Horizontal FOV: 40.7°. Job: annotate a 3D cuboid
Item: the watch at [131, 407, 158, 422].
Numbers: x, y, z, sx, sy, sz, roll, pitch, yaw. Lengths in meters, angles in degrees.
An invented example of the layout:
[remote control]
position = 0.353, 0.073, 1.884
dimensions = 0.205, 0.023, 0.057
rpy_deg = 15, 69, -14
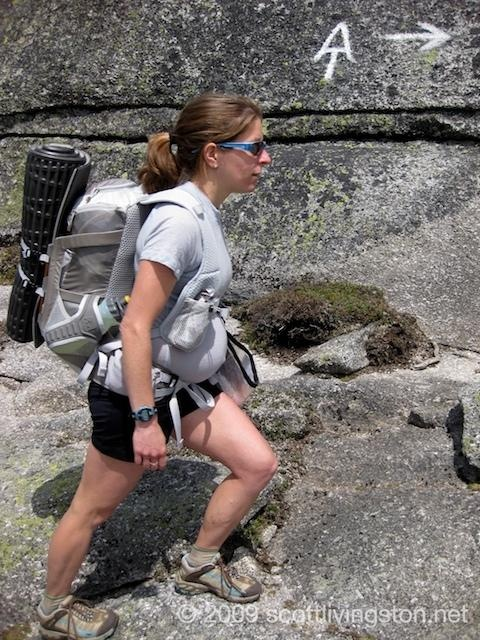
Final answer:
[watch]
position = -0.311, 0.313, 2.120
dimensions = 0.059, 0.031, 0.061
rpy_deg = -4, 1, -7

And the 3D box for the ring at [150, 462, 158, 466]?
[ring]
position = -0.287, 0.487, 2.183
dimensions = 0.017, 0.006, 0.020
rpy_deg = 0, 4, -4

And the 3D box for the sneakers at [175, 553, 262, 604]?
[sneakers]
position = -0.084, 1.091, 2.754
dimensions = 0.422, 0.167, 0.192
rpy_deg = 8, 6, -5

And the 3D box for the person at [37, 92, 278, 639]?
[person]
position = -0.336, 0.259, 2.514
dimensions = 0.902, 2.166, 0.840
rpy_deg = -1, 28, -16
